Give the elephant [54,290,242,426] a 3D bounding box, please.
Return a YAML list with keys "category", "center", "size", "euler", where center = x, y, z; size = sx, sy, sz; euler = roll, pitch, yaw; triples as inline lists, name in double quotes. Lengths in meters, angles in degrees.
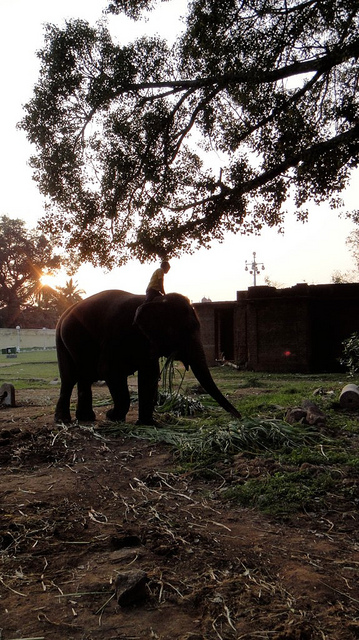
- category: "elephant"
  center: [-0.539, 0.500, 6.008]
  size: [2.402, 1.613, 0.956]
  euler: [1, 5, 19]
